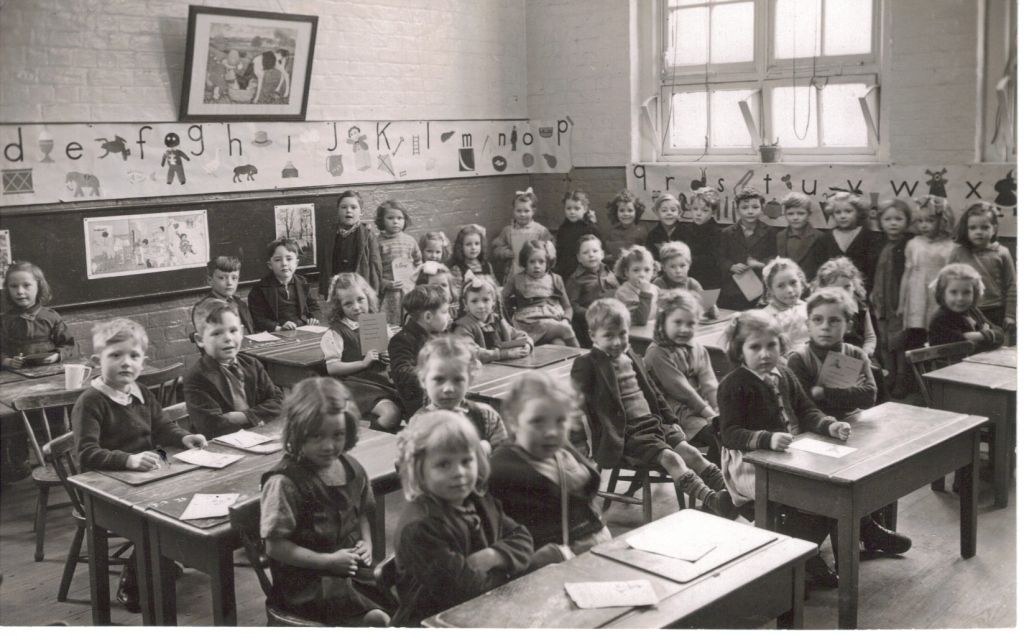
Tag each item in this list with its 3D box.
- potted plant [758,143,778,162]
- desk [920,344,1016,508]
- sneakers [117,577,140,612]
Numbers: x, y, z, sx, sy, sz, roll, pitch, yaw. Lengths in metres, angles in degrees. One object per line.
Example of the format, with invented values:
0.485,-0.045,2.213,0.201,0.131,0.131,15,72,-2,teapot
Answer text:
2.534,-1.647,7.767,0.203,0.177,0.164,2,10,31,potted plant
2.781,0.682,4.729,0.398,0.603,1.087,1,8,34,desk
-2.015,1.451,4.153,0.154,0.183,0.076,-5,-1,27,sneakers
